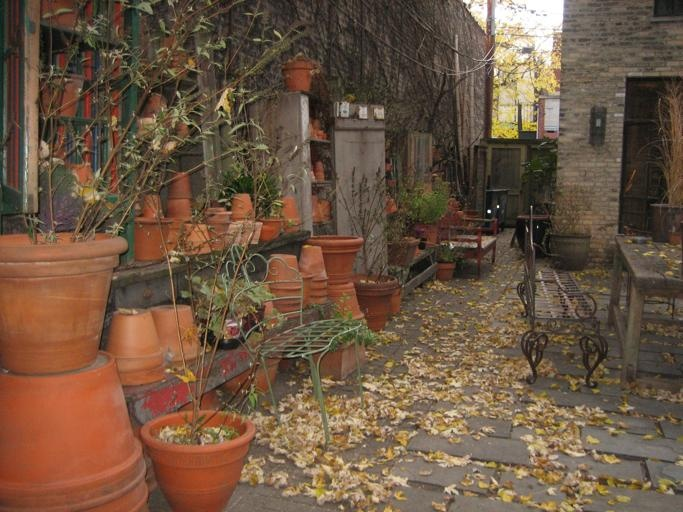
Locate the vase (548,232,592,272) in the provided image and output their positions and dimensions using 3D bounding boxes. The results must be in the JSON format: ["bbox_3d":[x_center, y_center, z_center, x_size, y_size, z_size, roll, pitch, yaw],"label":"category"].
[{"bbox_3d":[4.352,-0.125,10.696,0.699,0.755,0.790,6,17,34],"label":"vase"}]

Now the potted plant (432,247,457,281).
[{"bbox_3d":[1.752,0.130,9.626,0.445,0.573,0.485,0,-4,5],"label":"potted plant"}]
